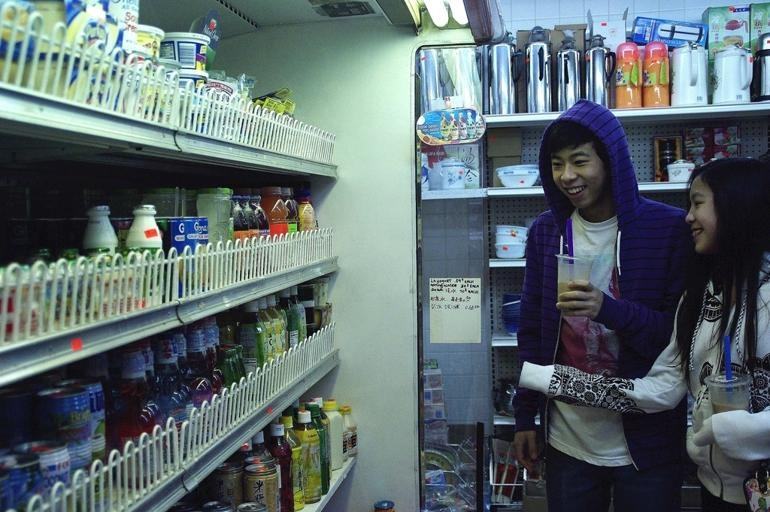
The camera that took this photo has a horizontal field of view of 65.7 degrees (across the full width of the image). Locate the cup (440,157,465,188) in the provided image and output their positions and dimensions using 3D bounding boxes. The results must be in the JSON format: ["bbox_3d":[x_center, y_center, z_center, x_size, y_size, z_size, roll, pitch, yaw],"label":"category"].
[{"bbox_3d":[0.387,-0.466,3.348,0.169,0.157,0.162,0,3,0],"label":"cup"}]

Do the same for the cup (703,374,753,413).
[{"bbox_3d":[1.079,0.423,1.913,0.126,0.129,0.121,-5,0,0],"label":"cup"}]

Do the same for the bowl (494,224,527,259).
[{"bbox_3d":[0.767,-0.089,3.650,0.201,0.150,0.194,-1,-3,0],"label":"bowl"}]

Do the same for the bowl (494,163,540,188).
[{"bbox_3d":[0.805,-0.483,3.622,0.179,0.087,0.170,-1,0,0],"label":"bowl"}]
